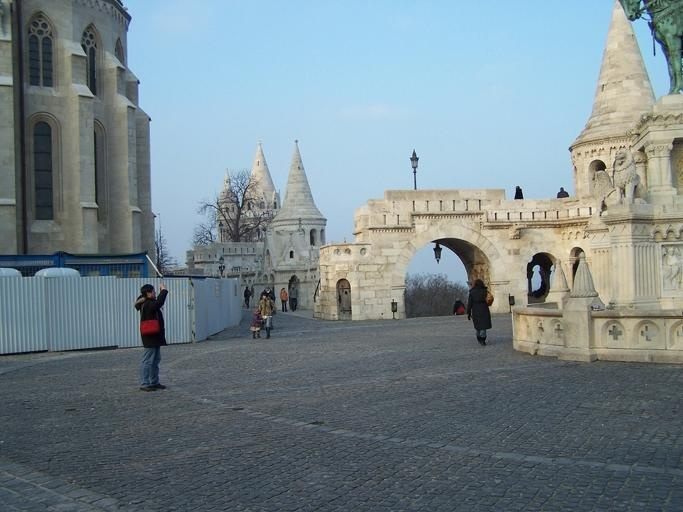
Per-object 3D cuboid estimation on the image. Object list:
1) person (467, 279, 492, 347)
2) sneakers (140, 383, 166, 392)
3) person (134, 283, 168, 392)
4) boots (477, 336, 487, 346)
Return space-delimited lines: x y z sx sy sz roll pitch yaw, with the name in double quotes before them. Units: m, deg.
"person" 3.707 1.351 20.928 0.624 1.749 0.611 2 24 23
"sneakers" -3.554 2.448 14.884 0.448 0.199 0.164 -1 1 -9
"person" -3.668 1.520 15.333 0.575 1.984 1.253 -2 4 -15
"boots" 3.627 2.201 20.496 0.194 0.225 0.252 -1 -33 2
